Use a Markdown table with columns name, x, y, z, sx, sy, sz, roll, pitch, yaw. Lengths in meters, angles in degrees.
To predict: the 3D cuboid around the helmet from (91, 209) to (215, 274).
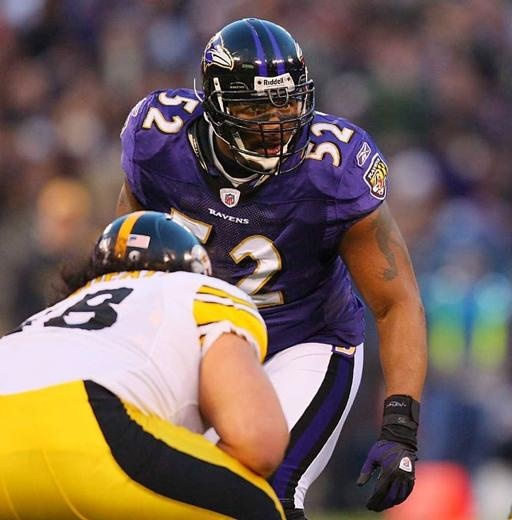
| name | x | y | z | sx | sy | sz | roll | pitch | yaw |
| --- | --- | --- | --- | --- | --- | --- | --- | --- | --- |
| helmet | -0.237 | -0.044 | 2.005 | 0.213 | 0.160 | 0.150 | -17 | 9 | -8 |

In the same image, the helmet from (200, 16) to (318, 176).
| name | x | y | z | sx | sy | sz | roll | pitch | yaw |
| --- | --- | --- | --- | --- | --- | --- | --- | --- | --- |
| helmet | -0.015 | -0.480 | 2.572 | 0.368 | 0.398 | 0.440 | -8 | 40 | -14 |
